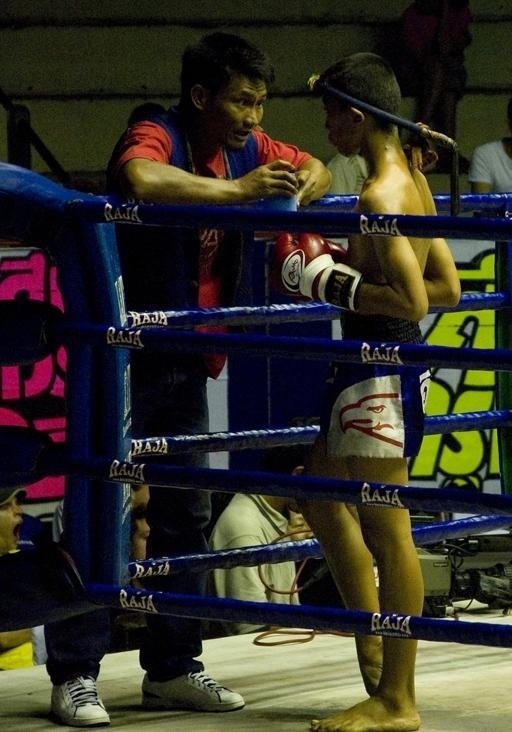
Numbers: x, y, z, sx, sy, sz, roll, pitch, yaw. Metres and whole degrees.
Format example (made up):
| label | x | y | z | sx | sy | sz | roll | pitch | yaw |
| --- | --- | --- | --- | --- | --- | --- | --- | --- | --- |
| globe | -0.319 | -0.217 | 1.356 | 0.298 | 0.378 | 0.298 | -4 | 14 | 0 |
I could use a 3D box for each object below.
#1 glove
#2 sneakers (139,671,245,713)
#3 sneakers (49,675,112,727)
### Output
| label | x | y | z | sx | sy | sz | roll | pitch | yaw |
| --- | --- | --- | --- | --- | --- | --- | --- | --- | --- |
| glove | 0.133 | -0.211 | 2.392 | 0.250 | 0.110 | 0.153 | 18 | 56 | 42 |
| sneakers | -0.167 | 0.824 | 2.758 | 0.319 | 0.102 | 0.092 | -2 | -4 | 16 |
| sneakers | -0.423 | 0.807 | 2.563 | 0.075 | 0.068 | 0.195 | 0 | -7 | -25 |
